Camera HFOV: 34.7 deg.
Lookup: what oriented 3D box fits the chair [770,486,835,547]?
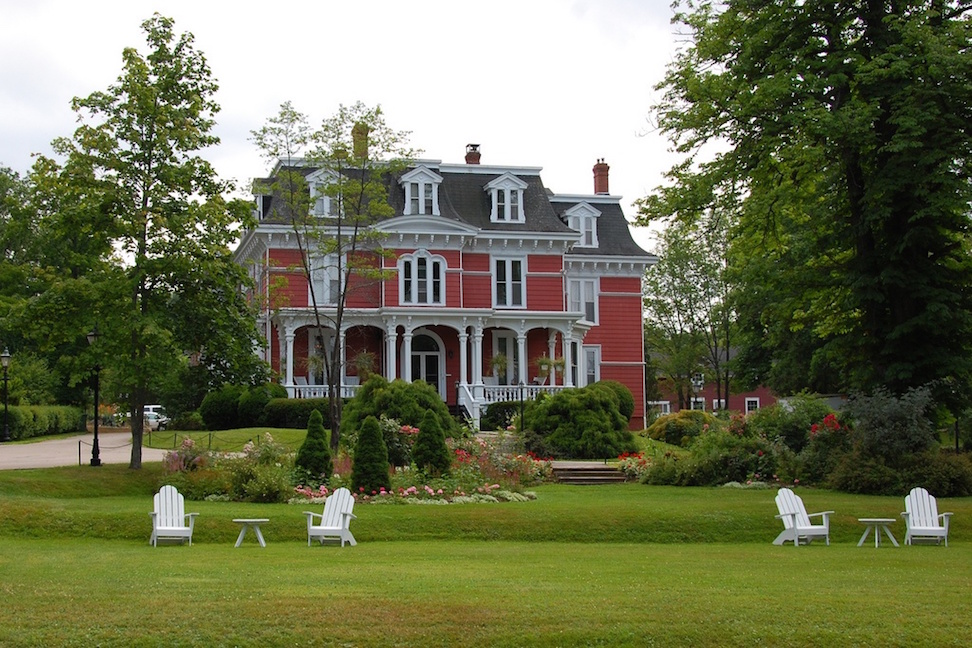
[{"bbox_3d":[8.351,5.220,41.409,1.192,1.371,1.534,0,-5,-19],"label":"chair"}]

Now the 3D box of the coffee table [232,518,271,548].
[{"bbox_3d":[-6.165,5.522,40.861,0.903,0.567,0.836,1,-10,-7],"label":"coffee table"}]

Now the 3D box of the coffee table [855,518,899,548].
[{"bbox_3d":[10.464,5.599,41.684,0.985,0.563,0.910,2,-3,-35],"label":"coffee table"}]

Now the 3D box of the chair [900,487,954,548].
[{"bbox_3d":[11.799,5.230,41.831,1.200,1.521,1.524,-5,-10,13],"label":"chair"}]

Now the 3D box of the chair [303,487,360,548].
[{"bbox_3d":[-3.990,5.080,40.726,1.238,1.278,1.440,1,2,5],"label":"chair"}]

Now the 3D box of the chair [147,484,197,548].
[{"bbox_3d":[-8.243,5.095,41.034,1.167,1.567,1.247,-1,-10,-7],"label":"chair"}]
